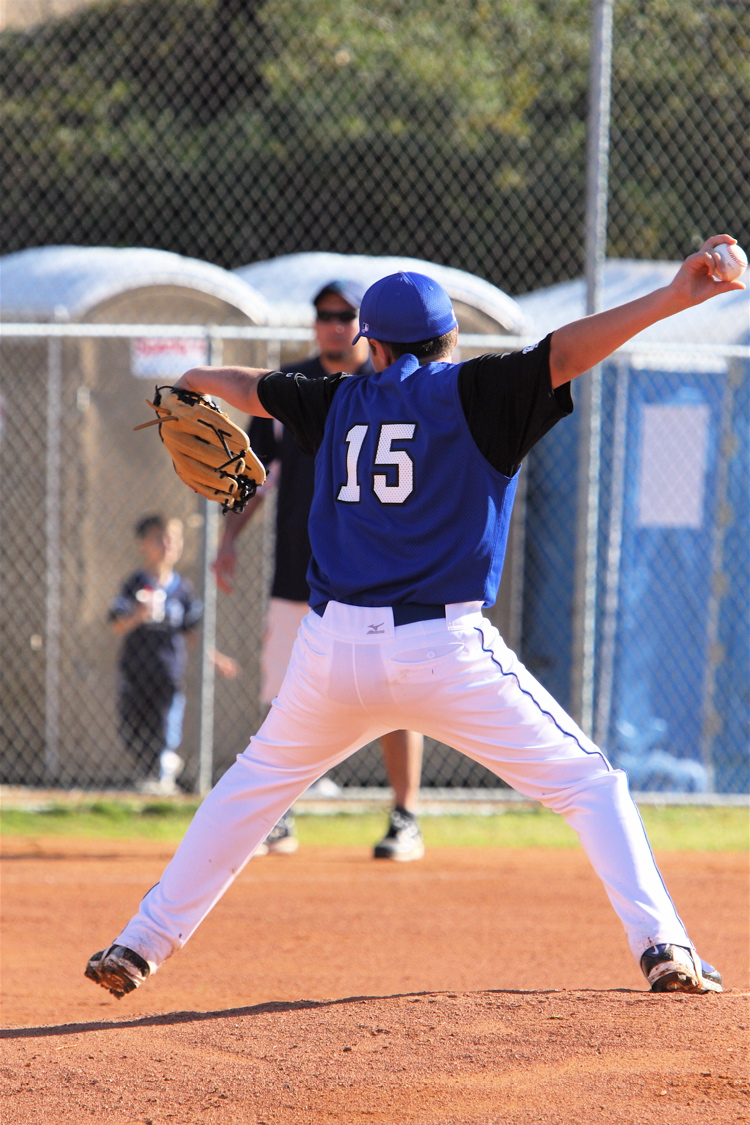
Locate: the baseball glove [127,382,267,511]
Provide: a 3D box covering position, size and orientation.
[{"bbox_3d":[-0.378,-0.259,3.439,0.206,0.318,0.085,-27,23,34],"label":"baseball glove"}]

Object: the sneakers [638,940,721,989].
[{"bbox_3d":[0.603,0.800,2.999,0.081,0.099,0.210,-2,-6,31],"label":"sneakers"}]

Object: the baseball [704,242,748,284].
[{"bbox_3d":[0.691,-0.568,2.900,0.052,0.073,0.181,5,5,33],"label":"baseball"}]

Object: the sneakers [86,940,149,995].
[{"bbox_3d":[-0.544,0.839,3.163,0.072,0.068,0.155,-22,11,-32],"label":"sneakers"}]

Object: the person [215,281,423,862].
[{"bbox_3d":[-0.061,-0.004,5.476,0.748,2.137,0.649,1,23,-12],"label":"person"}]
